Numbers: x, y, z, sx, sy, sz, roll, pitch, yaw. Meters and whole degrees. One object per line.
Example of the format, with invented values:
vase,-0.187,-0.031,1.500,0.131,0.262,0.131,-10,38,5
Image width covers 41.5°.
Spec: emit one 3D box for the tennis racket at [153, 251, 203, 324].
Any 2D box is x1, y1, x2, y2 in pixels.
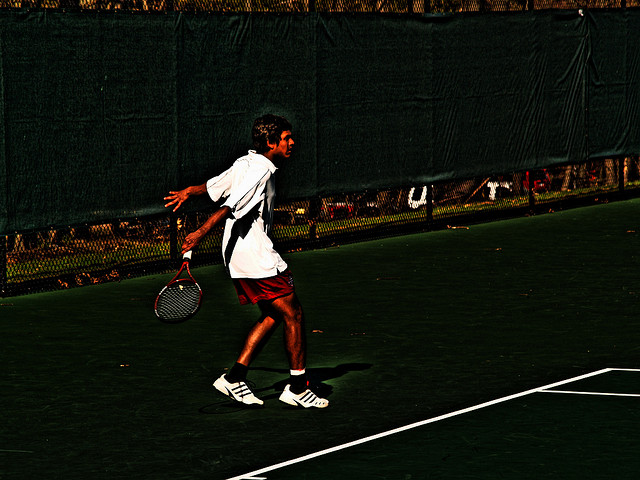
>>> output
tennis racket,-1.072,0.263,6.676,0.350,0.090,1.215,-4,29,1
